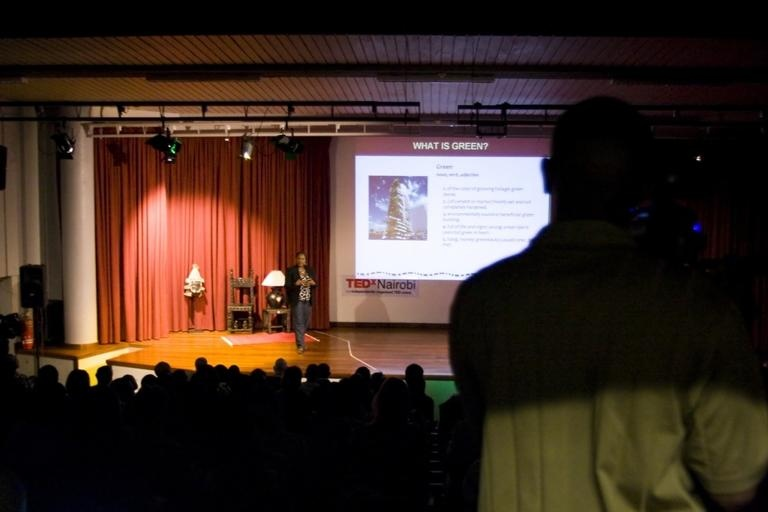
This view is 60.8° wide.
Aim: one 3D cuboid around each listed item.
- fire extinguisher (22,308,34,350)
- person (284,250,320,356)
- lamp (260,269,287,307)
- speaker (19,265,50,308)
[{"bbox_3d":[-5.191,1.064,9.598,0.143,0.582,0.196,2,-2,-29],"label":"fire extinguisher"},{"bbox_3d":[-1.223,0.673,9.808,0.419,1.457,0.520,1,-2,29],"label":"person"},{"bbox_3d":[-1.828,0.539,10.940,0.349,0.631,0.730,2,-2,-9],"label":"lamp"},{"bbox_3d":[-4.500,0.402,8.560,0.388,0.547,0.402,0,0,32],"label":"speaker"}]
